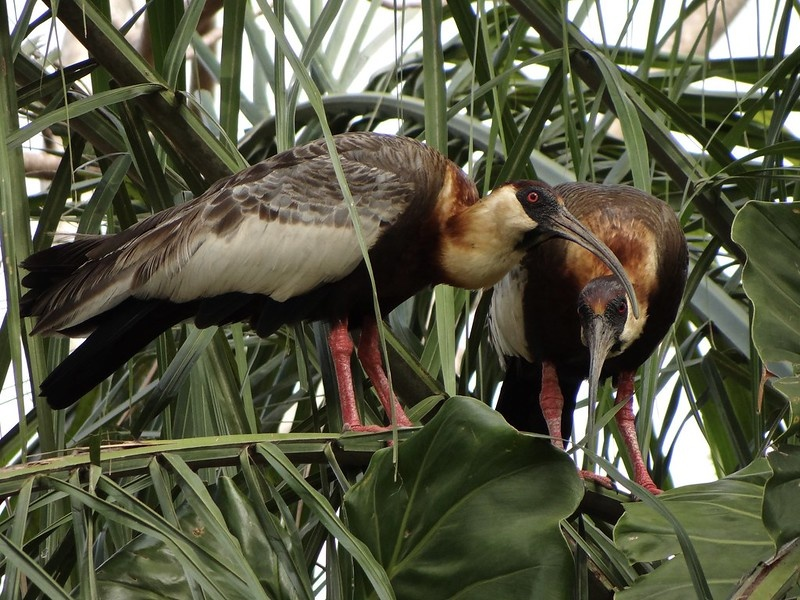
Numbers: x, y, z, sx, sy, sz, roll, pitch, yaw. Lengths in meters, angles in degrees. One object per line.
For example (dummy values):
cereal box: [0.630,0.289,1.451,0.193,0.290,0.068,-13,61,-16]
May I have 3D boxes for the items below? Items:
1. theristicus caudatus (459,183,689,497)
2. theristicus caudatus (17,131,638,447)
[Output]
theristicus caudatus: [0.699,0.139,4.507,0.627,1.134,1.334,3,5,1]
theristicus caudatus: [-0.310,0.038,3.961,1.889,1.151,0.547,2,-13,16]
